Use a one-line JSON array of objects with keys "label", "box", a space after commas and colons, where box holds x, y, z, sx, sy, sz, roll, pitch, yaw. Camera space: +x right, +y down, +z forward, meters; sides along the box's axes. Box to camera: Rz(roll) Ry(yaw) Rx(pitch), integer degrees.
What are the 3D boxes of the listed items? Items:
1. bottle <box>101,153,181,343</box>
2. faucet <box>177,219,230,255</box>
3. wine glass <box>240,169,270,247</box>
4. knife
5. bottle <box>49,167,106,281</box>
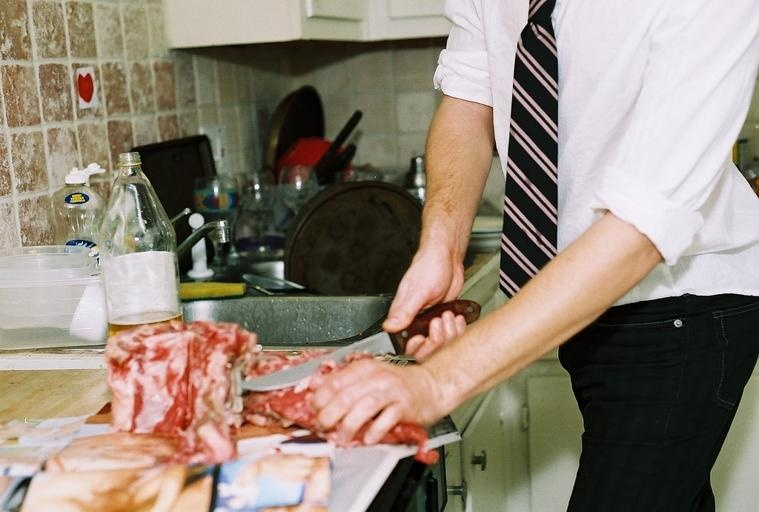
[{"label": "bottle", "box": [-0.461, -0.030, 1.355, 0.141, 0.325, 0.241, -2, 16, -18]}, {"label": "faucet", "box": [-0.422, -0.060, 1.706, 0.116, 0.098, 0.193, 0, 16, -11]}, {"label": "wine glass", "box": [-0.411, -0.165, 2.302, 0.102, 0.252, 0.309, 0, 16, -11]}, {"label": "knife", "box": [-0.021, 0.154, 1.238, 0.351, 0.023, 0.060, -14, 38, -30]}, {"label": "bottle", "box": [-0.642, -0.101, 1.498, 0.112, 0.182, 0.390, -4, 17, -23]}]
